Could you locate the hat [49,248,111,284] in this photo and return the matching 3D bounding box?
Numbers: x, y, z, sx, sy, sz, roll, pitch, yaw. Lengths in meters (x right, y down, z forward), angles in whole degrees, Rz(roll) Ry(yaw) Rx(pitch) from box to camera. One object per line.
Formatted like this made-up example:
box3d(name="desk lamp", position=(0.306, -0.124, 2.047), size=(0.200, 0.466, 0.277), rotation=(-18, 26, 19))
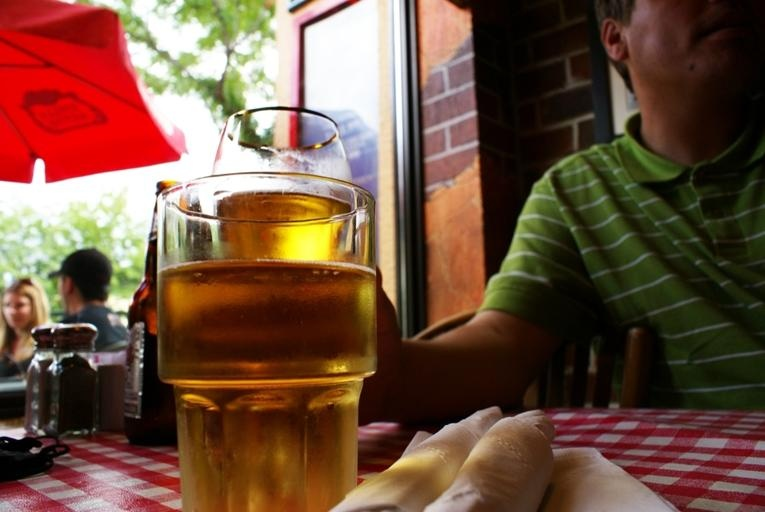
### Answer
box3d(name="hat", position=(-1.557, 0.054, 3.370), size=(0.232, 0.216, 0.176), rotation=(-3, -8, 28))
